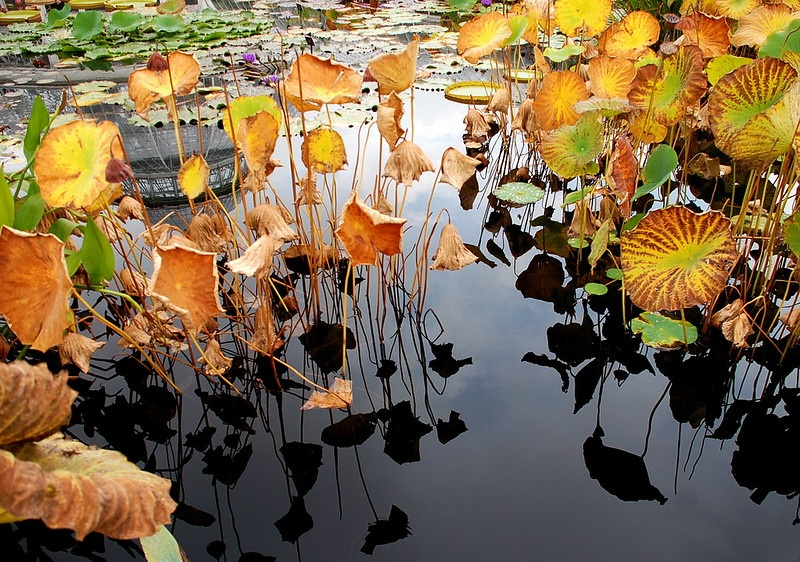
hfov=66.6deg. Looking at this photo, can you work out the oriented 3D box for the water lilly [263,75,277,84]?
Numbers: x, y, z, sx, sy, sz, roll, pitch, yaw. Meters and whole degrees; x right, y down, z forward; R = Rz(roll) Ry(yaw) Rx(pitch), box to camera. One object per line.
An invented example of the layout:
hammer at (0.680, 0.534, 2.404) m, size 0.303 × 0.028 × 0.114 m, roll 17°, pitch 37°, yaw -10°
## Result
water lilly at (-0.499, -0.784, 2.385) m, size 0.051 × 0.034 × 0.172 m, roll -8°, pitch 22°, yaw -10°
